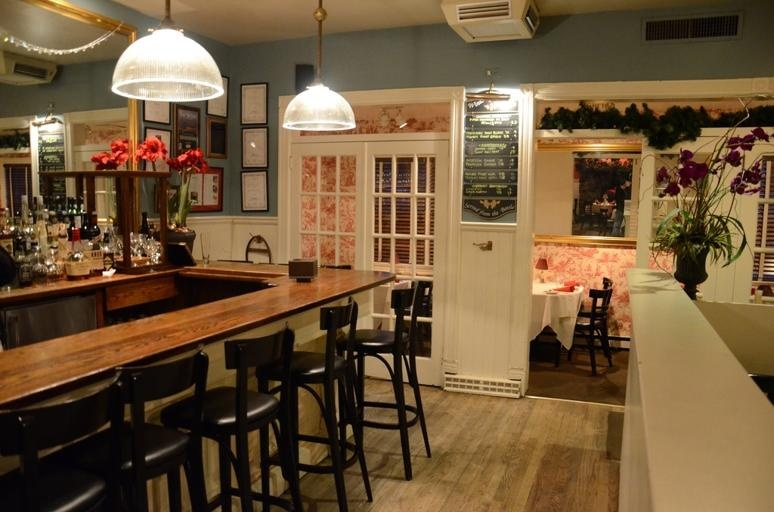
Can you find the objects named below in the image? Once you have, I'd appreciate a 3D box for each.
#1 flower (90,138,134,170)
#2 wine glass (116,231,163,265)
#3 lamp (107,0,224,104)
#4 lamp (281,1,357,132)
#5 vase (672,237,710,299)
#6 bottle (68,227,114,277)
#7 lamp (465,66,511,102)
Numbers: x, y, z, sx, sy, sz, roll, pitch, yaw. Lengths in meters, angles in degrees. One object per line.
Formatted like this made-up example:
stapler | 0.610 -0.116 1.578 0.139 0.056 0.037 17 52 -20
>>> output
flower | -2.327 -0.828 4.709 0.303 0.190 0.315 -2 2 -5
wine glass | -1.989 -0.063 4.477 0.267 0.213 0.251 0 3 -4
lamp | -1.250 -1.178 3.148 0.568 0.546 0.508 -4 11 -26
lamp | -0.570 -1.608 4.459 0.490 1.208 1.535 -1 10 -10
vase | 2.134 0.121 3.916 0.262 0.413 0.252 -1 2 2
bottle | -2.215 -0.014 4.141 0.131 0.339 0.348 4 5 23
lamp | 0.979 -1.651 5.351 0.229 0.314 0.467 -7 13 -40
